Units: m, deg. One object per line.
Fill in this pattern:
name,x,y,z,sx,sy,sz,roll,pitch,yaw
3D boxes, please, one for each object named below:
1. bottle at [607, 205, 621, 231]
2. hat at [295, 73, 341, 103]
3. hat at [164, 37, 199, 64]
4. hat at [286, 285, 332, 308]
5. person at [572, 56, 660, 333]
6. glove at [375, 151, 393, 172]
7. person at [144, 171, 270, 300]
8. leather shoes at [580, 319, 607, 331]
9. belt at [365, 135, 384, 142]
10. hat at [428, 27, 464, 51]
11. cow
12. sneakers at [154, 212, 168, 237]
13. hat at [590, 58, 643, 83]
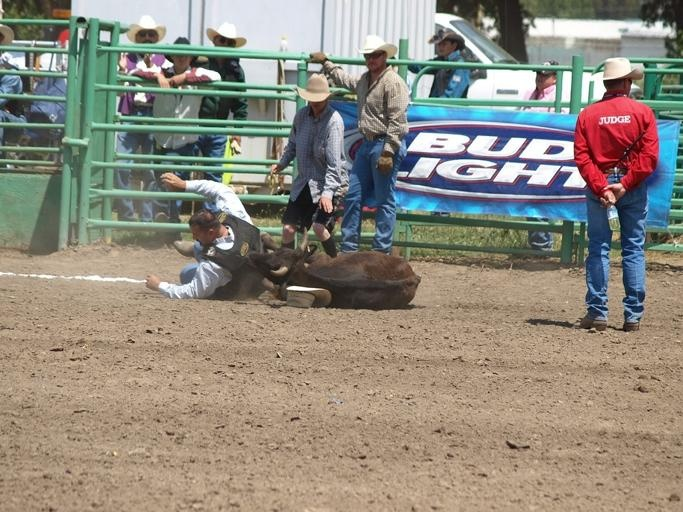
bottle,2.279,-0.316,8.303,0.103,0.207,0.300,2,4,15
hat,-0.270,-1.670,9.850,0.305,0.298,0.305,1,3,-2
hat,-1.890,-2.468,11.836,0.509,0.190,0.539,0,2,-12
hat,-0.275,0.364,8.921,0.282,0.085,0.254,4,0,-25
person,2.308,-0.514,8.404,0.678,2.317,0.614,2,3,16
glove,0.443,-0.939,9.919,0.149,0.209,0.148,1,3,-1
person,-1.179,-0.253,9.440,1.272,1.277,1.644,2,-10,-10
leather shoes,2.153,0.583,8.547,0.224,0.096,0.091,9,13,40
belt,0.346,-1.196,10.045,0.178,0.048,0.087,0,11,-4
hat,1.288,-2.755,12.510,0.500,0.179,0.417,3,15,38
cow,0.038,0.089,9.103,1.792,0.520,0.851,1,3,-10
sneakers,-2.135,-0.384,11.836,0.183,0.261,0.106,0,-4,7
hat,2.382,-1.578,8.431,0.487,0.162,0.483,4,9,29
